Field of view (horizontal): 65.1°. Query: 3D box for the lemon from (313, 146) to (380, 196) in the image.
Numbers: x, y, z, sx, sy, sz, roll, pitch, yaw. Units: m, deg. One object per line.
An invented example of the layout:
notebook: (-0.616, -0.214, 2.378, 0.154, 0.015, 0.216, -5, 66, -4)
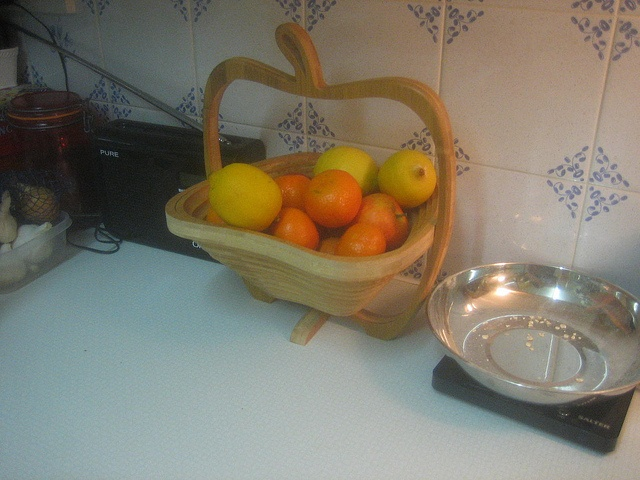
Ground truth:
lemon: (0.048, -0.131, 0.930, 0.098, 0.087, 0.107, 24, 32, 39)

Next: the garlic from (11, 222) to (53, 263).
garlic: (-0.591, 0.001, 1.024, 0.046, 0.053, 0.046, 17, 27, 28)

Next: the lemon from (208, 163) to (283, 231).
lemon: (-0.126, -0.076, 0.799, 0.095, 0.104, 0.124, 4, 4, -36)

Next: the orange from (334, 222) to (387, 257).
orange: (0.065, 0.005, 0.771, 0.070, 0.049, 0.045, 11, 23, 3)

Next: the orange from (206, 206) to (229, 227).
orange: (-0.164, -0.031, 0.827, 0.031, 0.018, 0.033, 25, -6, 39)

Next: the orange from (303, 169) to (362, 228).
orange: (0.020, -0.067, 0.837, 0.112, 0.097, 0.123, -8, -1, 3)
